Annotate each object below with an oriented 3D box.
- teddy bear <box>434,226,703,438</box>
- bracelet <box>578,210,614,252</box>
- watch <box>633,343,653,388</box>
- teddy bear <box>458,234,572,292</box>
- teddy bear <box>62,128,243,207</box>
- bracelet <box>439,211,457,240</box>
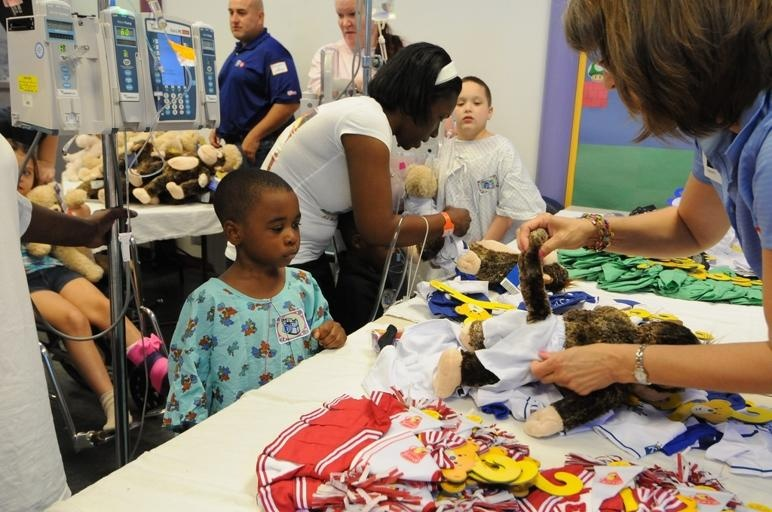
[{"bbox_3d":[0.539,0.247,1.725,0.775,0.266,0.678,4,40,6],"label":"teddy bear"},{"bbox_3d":[0.655,-0.066,1.769,0.095,0.105,0.044,1,5,45],"label":"bracelet"},{"bbox_3d":[0.643,0.281,1.468,0.053,0.090,0.093,4,24,30],"label":"watch"},{"bbox_3d":[0.445,0.007,2.279,0.259,0.079,0.248,-4,21,-23],"label":"teddy bear"},{"bbox_3d":[-1.449,-0.482,3.393,0.918,0.332,0.681,9,16,33],"label":"teddy bear"},{"bbox_3d":[0.242,-0.122,2.267,0.068,0.096,0.093,-16,4,-30],"label":"bracelet"}]
